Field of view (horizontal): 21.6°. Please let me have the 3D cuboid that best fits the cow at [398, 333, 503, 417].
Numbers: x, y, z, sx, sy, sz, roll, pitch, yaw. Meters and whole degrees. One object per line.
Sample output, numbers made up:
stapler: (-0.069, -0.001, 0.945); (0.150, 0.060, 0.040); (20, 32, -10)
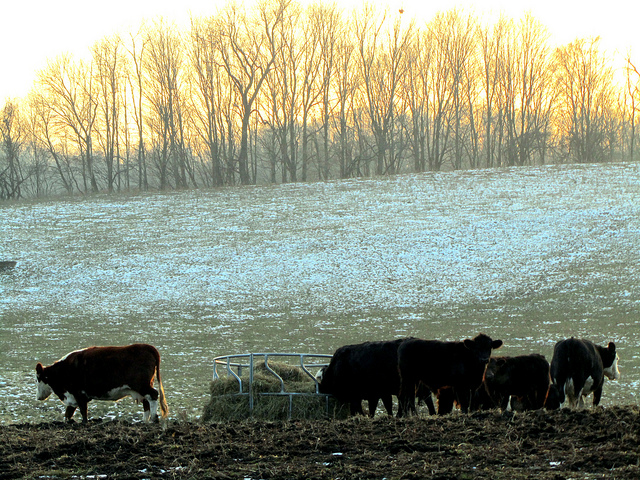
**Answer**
cow: (7.107, 7.601, 96.530); (6.298, 5.954, 3.157); (-1, -2, 3)
